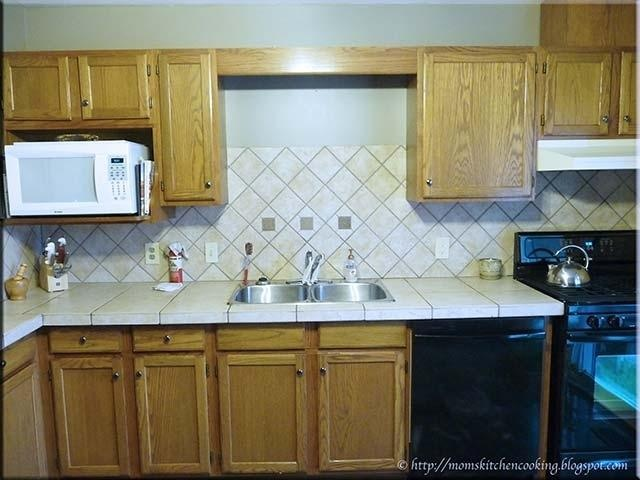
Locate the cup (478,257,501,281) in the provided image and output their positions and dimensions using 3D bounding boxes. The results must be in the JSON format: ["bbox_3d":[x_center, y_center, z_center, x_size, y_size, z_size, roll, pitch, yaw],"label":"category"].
[{"bbox_3d":[1.094,0.184,3.800,0.131,0.098,0.135,0,2,0],"label":"cup"}]

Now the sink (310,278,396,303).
[{"bbox_3d":[0.177,0.345,3.585,0.472,0.125,0.481,-2,7,-3],"label":"sink"}]

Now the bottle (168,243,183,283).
[{"bbox_3d":[-0.913,0.147,3.779,0.098,0.256,0.097,-2,7,0],"label":"bottle"}]

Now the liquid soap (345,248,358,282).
[{"bbox_3d":[0.201,0.162,3.796,0.082,0.199,0.154,-1,7,3],"label":"liquid soap"}]

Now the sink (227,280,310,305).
[{"bbox_3d":[-0.317,0.348,3.663,0.491,0.125,0.225,-4,7,-19],"label":"sink"}]

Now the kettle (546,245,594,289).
[{"bbox_3d":[1.522,0.159,3.630,0.267,0.252,0.255,2,3,20],"label":"kettle"}]

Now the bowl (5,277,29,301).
[{"bbox_3d":[-1.755,0.279,3.458,0.128,0.139,0.129,0,4,0],"label":"bowl"}]

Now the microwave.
[{"bbox_3d":[-1.399,-0.337,3.232,0.628,0.374,0.455,-1,2,-4],"label":"microwave"}]

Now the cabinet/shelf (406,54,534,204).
[{"bbox_3d":[0.857,-0.629,3.844,0.963,1.144,0.753,0,0,2],"label":"cabinet/shelf"}]

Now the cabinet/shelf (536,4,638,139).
[{"bbox_3d":[1.594,-1.033,3.530,0.522,0.848,0.405,2,8,25],"label":"cabinet/shelf"}]

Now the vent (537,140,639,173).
[{"bbox_3d":[1.562,-0.503,3.447,0.545,0.175,0.158,-2,7,-4],"label":"vent"}]

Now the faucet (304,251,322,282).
[{"bbox_3d":[-0.035,0.173,3.756,0.072,0.214,0.091,14,5,28],"label":"faucet"}]

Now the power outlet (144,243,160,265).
[{"bbox_3d":[-1.086,0.083,3.832,0.136,0.184,0.018,0,7,-1],"label":"power outlet"}]
